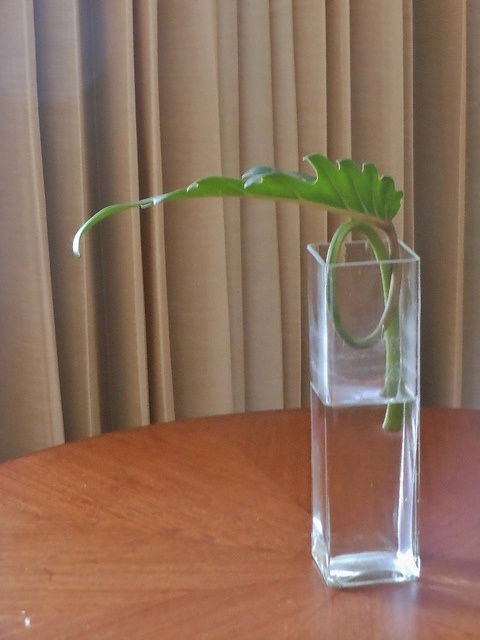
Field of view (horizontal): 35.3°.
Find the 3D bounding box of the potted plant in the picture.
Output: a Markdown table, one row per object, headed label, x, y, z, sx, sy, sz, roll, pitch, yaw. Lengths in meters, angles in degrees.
| label | x | y | z | sx | sy | sz | roll | pitch | yaw |
| --- | --- | --- | --- | --- | --- | --- | --- | --- | --- |
| potted plant | -0.008 | 0.005 | 0.688 | 0.264 | 0.217 | 0.462 | -1 | -80 | 2 |
